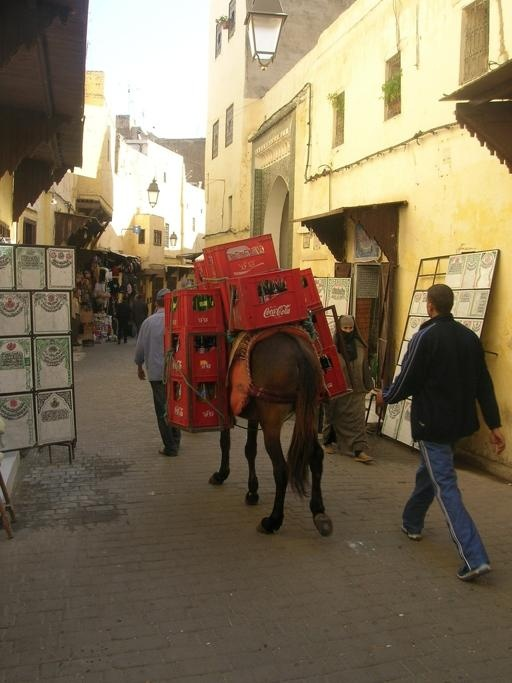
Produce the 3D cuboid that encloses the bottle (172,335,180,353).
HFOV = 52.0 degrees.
[{"bbox_3d":[-0.704,0.009,4.596,0.039,0.150,0.299,1,-3,-14],"label":"bottle"}]

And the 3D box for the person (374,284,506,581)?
[{"bbox_3d":[1.197,0.499,3.344,0.527,1.747,0.809,2,-4,-32],"label":"person"}]

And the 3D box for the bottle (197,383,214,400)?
[{"bbox_3d":[-0.407,0.393,4.289,0.144,0.144,0.107,2,-4,-31],"label":"bottle"}]

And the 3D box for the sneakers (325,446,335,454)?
[{"bbox_3d":[0.930,1.367,6.647,0.058,0.073,0.166,-1,-7,-2],"label":"sneakers"}]

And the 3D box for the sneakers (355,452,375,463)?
[{"bbox_3d":[1.268,1.361,6.171,0.084,0.101,0.227,1,-5,-18],"label":"sneakers"}]

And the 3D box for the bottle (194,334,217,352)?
[{"bbox_3d":[-0.423,0.015,4.341,0.226,0.233,0.125,1,-1,-9],"label":"bottle"}]

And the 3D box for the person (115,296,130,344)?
[{"bbox_3d":[-6.013,-0.902,23.607,0.598,2.002,1.340,1,-3,-14],"label":"person"}]

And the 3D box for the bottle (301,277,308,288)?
[{"bbox_3d":[0.387,-0.493,4.248,0.038,0.084,0.120,-1,-3,17],"label":"bottle"}]

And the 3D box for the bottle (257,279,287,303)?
[{"bbox_3d":[0.106,-0.378,3.890,0.164,0.172,0.046,-3,3,-31],"label":"bottle"}]

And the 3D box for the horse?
[{"bbox_3d":[-0.006,0.580,4.628,0.515,1.874,2.285,4,-7,-19],"label":"horse"}]

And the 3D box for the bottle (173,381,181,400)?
[{"bbox_3d":[-0.682,0.427,4.544,0.036,0.153,0.248,1,-3,-15],"label":"bottle"}]

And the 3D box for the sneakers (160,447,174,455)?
[{"bbox_3d":[-1.054,1.294,6.164,0.193,0.096,0.082,-2,-4,34],"label":"sneakers"}]
